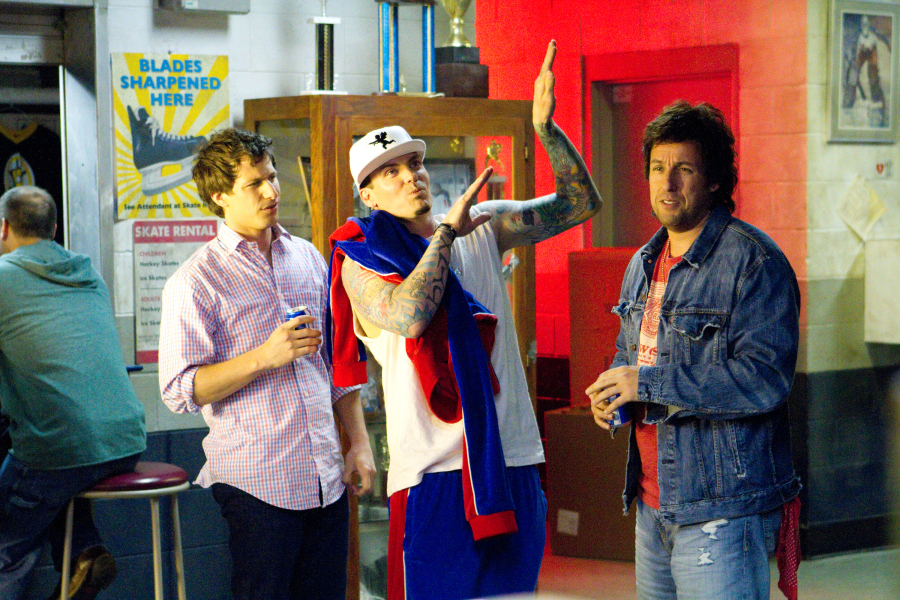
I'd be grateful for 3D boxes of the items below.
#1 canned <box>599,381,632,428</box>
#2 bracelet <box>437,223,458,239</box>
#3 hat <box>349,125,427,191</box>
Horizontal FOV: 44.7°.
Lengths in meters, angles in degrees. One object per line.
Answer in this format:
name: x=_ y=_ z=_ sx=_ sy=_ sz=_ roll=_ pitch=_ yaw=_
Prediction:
canned: x=0.670 y=0.452 z=4.356 sx=0.147 sy=0.172 sz=0.090 roll=2 pitch=-3 yaw=21
bracelet: x=-0.005 y=-0.255 z=4.087 sx=0.054 sy=0.050 sz=0.048 roll=15 pitch=-6 yaw=2
hat: x=-0.265 y=-0.579 z=4.346 sx=0.202 sy=0.292 sz=0.266 roll=-24 pitch=0 yaw=-27
